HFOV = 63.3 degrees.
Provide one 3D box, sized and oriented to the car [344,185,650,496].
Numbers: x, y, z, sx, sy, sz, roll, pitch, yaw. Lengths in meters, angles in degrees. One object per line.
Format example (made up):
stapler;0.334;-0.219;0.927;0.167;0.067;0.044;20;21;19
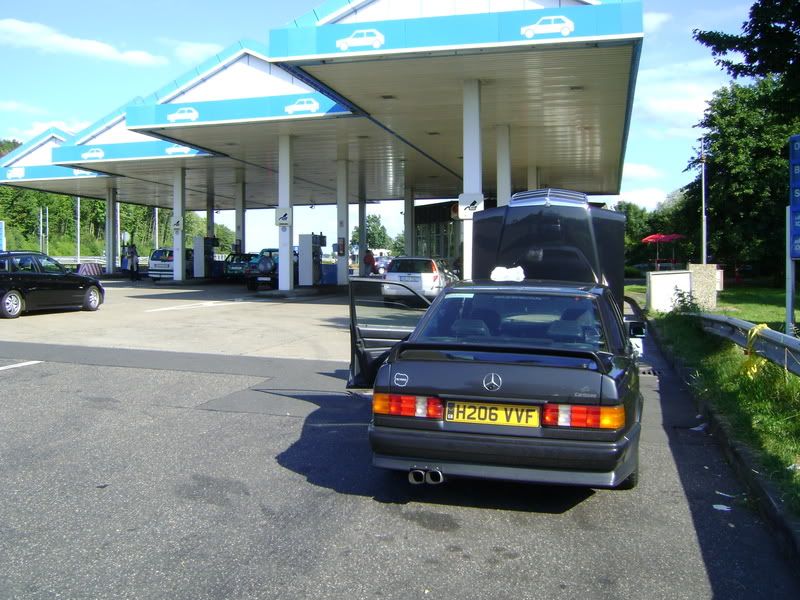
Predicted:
car;1.055;0.027;6.916;2.772;2.510;4.714;3;4;17

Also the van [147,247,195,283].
van;-12.544;-1.950;35.912;1.717;1.358;2.670;2;6;13
